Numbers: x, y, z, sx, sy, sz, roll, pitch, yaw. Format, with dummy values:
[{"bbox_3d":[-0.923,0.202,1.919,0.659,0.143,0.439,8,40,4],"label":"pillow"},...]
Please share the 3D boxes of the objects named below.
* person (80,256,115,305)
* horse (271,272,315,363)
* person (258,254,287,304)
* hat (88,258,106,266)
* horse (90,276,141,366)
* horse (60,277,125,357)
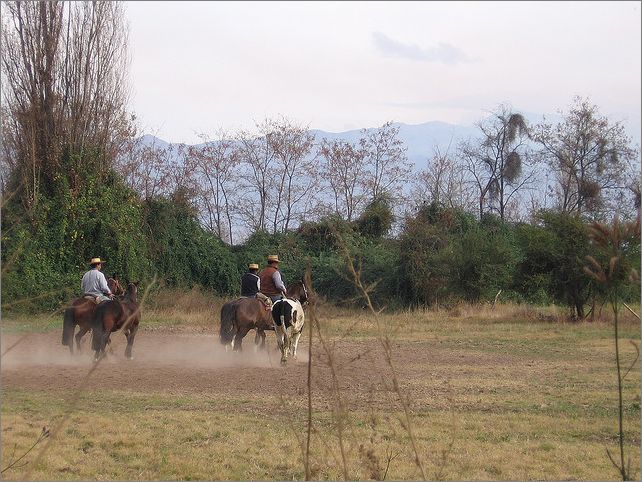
[{"bbox_3d":[-8.144,1.584,32.582,1.120,1.924,1.123,-1,-4,11],"label":"person"},{"bbox_3d":[-1.146,2.858,32.947,1.260,2.962,2.838,-1,0,-1],"label":"horse"},{"bbox_3d":[-1.778,1.594,33.809,1.048,2.174,1.122,1,-2,31],"label":"person"},{"bbox_3d":[-8.107,0.732,32.201,0.567,0.254,0.684,-2,-4,-8],"label":"hat"},{"bbox_3d":[-7.050,2.604,31.574,2.575,1.962,0.567,-25,-32,35],"label":"horse"},{"bbox_3d":[-8.470,2.835,33.166,0.822,2.601,3.111,12,10,26],"label":"horse"}]
